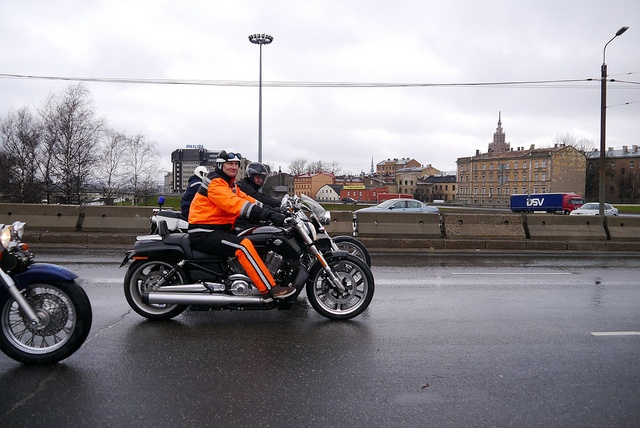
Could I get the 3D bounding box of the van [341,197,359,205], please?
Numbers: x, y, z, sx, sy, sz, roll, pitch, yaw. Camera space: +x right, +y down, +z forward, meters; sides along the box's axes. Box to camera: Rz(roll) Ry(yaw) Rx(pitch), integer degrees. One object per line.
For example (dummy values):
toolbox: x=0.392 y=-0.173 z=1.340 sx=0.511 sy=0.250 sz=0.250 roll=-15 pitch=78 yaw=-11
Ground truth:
van: x=5.550 y=-2.394 z=104.387 sx=2.968 sy=1.340 sz=1.497 roll=-3 pitch=4 yaw=9

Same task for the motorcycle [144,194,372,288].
motorcycle: x=-0.973 y=0.550 z=9.917 sx=3.675 sy=1.820 sz=1.611 roll=-5 pitch=15 yaw=2

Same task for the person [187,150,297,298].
person: x=-1.193 y=0.144 z=7.882 sx=1.464 sy=2.021 sz=0.564 roll=5 pitch=15 yaw=16

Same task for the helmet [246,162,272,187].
helmet: x=-1.036 y=-0.659 z=9.046 sx=0.445 sy=0.411 sz=0.391 roll=0 pitch=9 yaw=3

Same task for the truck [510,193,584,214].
truck: x=24.525 y=-1.222 z=60.042 sx=1.285 sy=2.913 sz=7.273 roll=-10 pitch=18 yaw=-36

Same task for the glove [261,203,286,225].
glove: x=-0.683 y=0.040 z=7.761 sx=0.350 sy=0.315 sz=0.210 roll=1 pitch=14 yaw=0

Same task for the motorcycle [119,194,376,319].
motorcycle: x=-1.048 y=0.653 z=8.170 sx=3.689 sy=1.833 sz=1.437 roll=1 pitch=-1 yaw=-2
